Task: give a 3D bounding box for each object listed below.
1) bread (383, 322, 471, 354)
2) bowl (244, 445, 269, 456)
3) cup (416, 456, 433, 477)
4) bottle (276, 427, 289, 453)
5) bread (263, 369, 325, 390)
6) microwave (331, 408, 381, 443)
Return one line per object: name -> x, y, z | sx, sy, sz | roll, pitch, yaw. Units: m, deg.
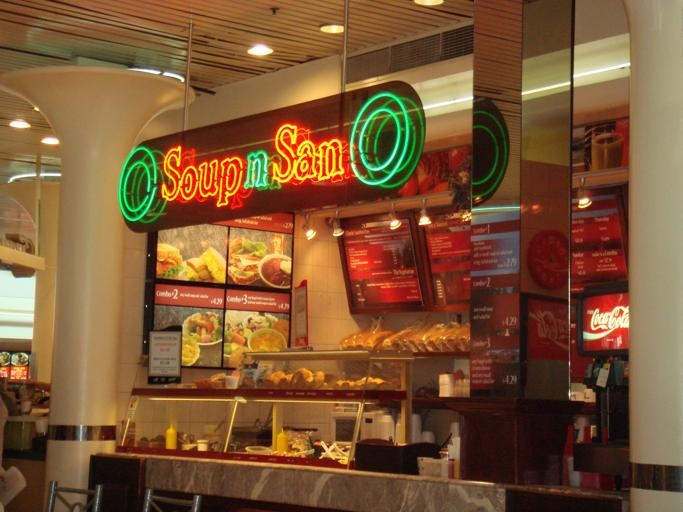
bread -> 0.953, 0.917, 6.809 | 0.992, 0.323, 0.265 | -7, -9, 28
bowl -> -0.587, 1.359, 4.333 | 0.111, 0.024, 0.078 | 1, -4, 30
cup -> 0.501, 1.260, 3.677 | 0.105, 0.103, 0.087 | 1, -3, 9
bottle -> -0.404, 1.287, 4.275 | 0.105, 0.152, 0.038 | -8, -9, 34
bread -> -0.322, 0.867, 4.350 | 0.532, 0.129, 0.116 | -9, -10, 38
microwave -> 0.097, 1.098, 4.029 | 0.339, 0.245, 0.219 | -4, -9, 30
